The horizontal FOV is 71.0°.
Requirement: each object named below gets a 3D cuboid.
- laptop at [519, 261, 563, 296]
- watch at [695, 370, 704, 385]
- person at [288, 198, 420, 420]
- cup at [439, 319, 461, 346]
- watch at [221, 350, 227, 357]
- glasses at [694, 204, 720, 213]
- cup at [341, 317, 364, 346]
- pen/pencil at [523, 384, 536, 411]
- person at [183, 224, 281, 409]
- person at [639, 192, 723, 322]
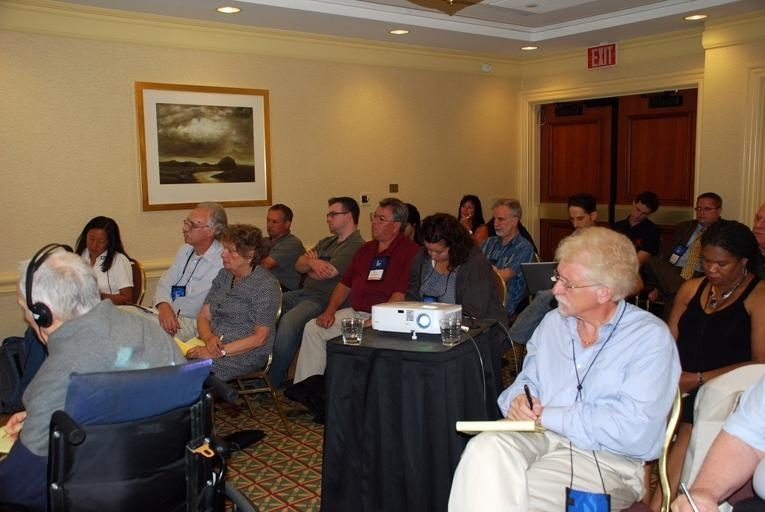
[{"bbox_3d":[1.240,0.155,4.354,0.420,0.386,0.315,0,5,12],"label":"laptop"},{"bbox_3d":[1.673,0.643,2.825,0.043,0.065,0.066,0,-34,15],"label":"watch"},{"bbox_3d":[-0.243,0.426,4.495,0.977,1.804,0.723,1,9,-31],"label":"person"},{"bbox_3d":[0.350,0.401,2.824,0.104,0.102,0.124,0,-14,0],"label":"cup"},{"bbox_3d":[-1.105,0.684,3.756,0.037,0.054,0.029,-4,11,-14],"label":"watch"},{"bbox_3d":[3.233,-0.463,5.336,0.208,0.088,0.136,3,11,23],"label":"glasses"},{"bbox_3d":[-0.155,0.418,2.905,0.128,0.132,0.124,0,-6,0],"label":"cup"},{"bbox_3d":[0.659,0.635,2.428,0.016,0.128,0.021,4,-33,-42],"label":"pen/pencil"},{"bbox_3d":[-1.146,0.309,3.910,0.718,1.003,0.763,9,13,39],"label":"person"},{"bbox_3d":[2.953,0.082,5.217,0.777,1.370,0.560,4,2,10],"label":"person"}]
